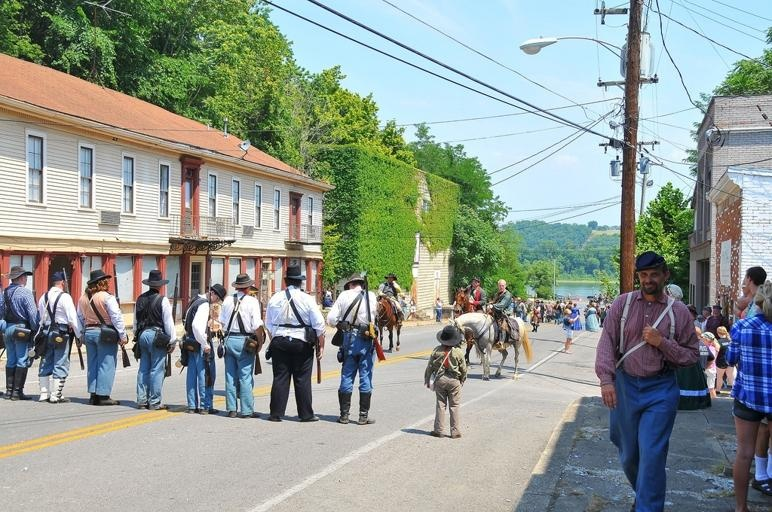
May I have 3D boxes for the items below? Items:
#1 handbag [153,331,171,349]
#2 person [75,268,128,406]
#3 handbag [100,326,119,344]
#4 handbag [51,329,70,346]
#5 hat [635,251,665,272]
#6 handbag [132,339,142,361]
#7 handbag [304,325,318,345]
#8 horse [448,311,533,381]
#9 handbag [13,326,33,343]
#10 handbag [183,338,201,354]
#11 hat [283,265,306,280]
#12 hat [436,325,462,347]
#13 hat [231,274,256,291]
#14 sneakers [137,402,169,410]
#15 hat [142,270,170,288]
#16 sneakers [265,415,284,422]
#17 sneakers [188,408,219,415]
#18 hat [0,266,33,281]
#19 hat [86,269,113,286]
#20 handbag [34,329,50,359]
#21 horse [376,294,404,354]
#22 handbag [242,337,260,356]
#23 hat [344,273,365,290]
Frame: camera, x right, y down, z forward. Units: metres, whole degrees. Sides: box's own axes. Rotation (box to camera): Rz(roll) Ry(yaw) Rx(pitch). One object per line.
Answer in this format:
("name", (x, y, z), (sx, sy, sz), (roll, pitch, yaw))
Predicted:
("handbag", (-4.730, 1.754, 16.744), (0.495, 0.446, 0.300), (4, 2, -18))
("person", (-6.102, 1.771, 16.954), (0.820, 2.934, 0.950), (0, -4, -34))
("handbag", (-5.845, 1.662, 16.689), (0.402, 0.361, 0.338), (3, -2, -25))
("handbag", (-7.069, 1.774, 17.111), (0.307, 0.288, 0.169), (28, -17, -33))
("hat", (4.097, 0.073, 12.311), (0.419, 0.322, 0.513), (-3, -4, 15))
("handbag", (-5.277, 1.987, 16.787), (0.155, 0.400, 0.555), (-1, -4, -17))
("handbag", (-1.543, 1.634, 16.213), (0.264, 0.362, 0.357), (2, -4, 42))
("horse", (3.062, 2.636, 23.478), (3.222, 1.861, 1.032), (3, -5, -33))
("handbag", (-7.917, 1.726, 17.347), (0.463, 0.263, 0.409), (13, -14, -18))
("handbag", (-4.043, 1.823, 16.583), (0.448, 0.402, 0.243), (1, 3, 11))
("hat", (-1.906, 0.350, 16.499), (0.555, 0.245, 0.608), (3, 0, -3))
("hat", (1.278, 1.596, 15.845), (0.377, 0.189, 0.509), (1, 12, -2))
("hat", (-2.979, 0.617, 16.830), (0.490, 0.200, 0.533), (1, 12, 9))
("sneakers", (-4.999, 3.207, 17.033), (0.651, 0.260, 0.223), (-1, 0, 4))
("hat", (-5.014, 0.493, 17.236), (0.619, 0.235, 0.622), (3, 11, -4))
("sneakers", (-2.304, 3.371, 16.355), (0.191, 0.185, 0.167), (-1, -1, 14))
("sneakers", (-3.875, 3.295, 16.740), (0.583, 0.234, 0.195), (-1, -1, 1))
("hat", (-10.087, 0.461, 21.425), (0.507, 0.207, 0.481), (-13, -5, 5))
("hat", (-6.238, 0.488, 16.953), (0.560, 0.213, 0.482), (-23, 1, 0))
("handbag", (-7.465, 1.899, 17.091), (0.267, 0.576, 0.236), (-1, -4, -21))
("horse", (0.011, 2.321, 28.230), (0.806, 1.872, 2.930), (3, 3, 12))
("handbag", (-2.783, 1.820, 16.331), (0.294, 0.396, 0.435), (7, 0, 21))
("hat", (-0.690, 0.498, 16.769), (0.347, 0.198, 0.381), (-21, -14, -3))
